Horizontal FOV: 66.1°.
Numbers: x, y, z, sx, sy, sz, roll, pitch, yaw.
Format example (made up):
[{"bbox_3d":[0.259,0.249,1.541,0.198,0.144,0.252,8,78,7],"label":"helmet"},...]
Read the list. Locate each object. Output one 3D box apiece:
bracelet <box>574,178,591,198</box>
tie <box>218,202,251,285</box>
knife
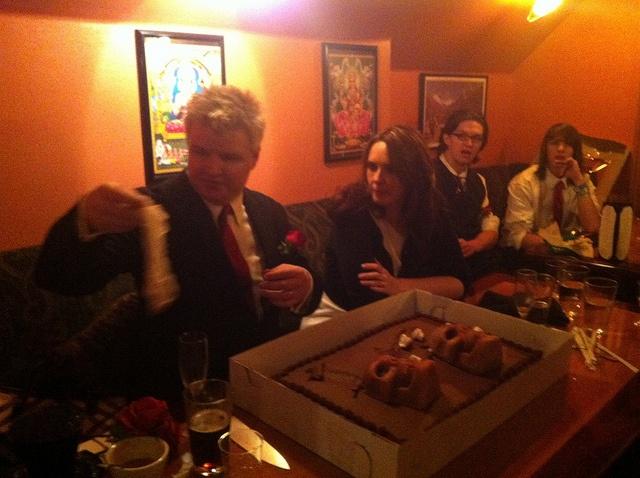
[{"bbox_3d":[2.056,-0.408,3.877,0.108,0.103,0.109,-18,16,20],"label":"bracelet"},{"bbox_3d":[-0.350,0.029,1.997,0.082,0.355,0.046,-17,-2,-23],"label":"tie"},{"bbox_3d":[-0.169,0.533,1.317,0.070,0.012,0.284,-12,21,-40],"label":"knife"}]
